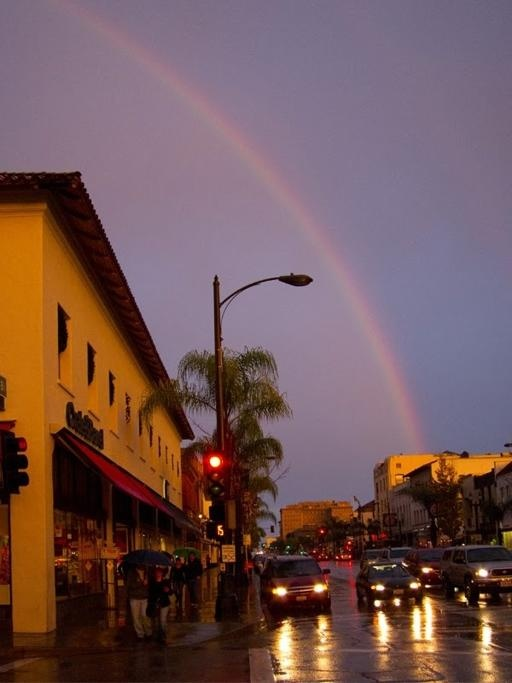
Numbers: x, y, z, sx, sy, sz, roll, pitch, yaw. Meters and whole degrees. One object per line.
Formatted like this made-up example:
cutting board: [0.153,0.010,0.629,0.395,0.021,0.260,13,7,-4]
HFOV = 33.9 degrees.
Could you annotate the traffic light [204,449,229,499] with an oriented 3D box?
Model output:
traffic light: [-0.939,3.056,19.223,0.496,1.048,0.413,-7,-17,1]

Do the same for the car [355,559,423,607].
car: [3.749,7.162,24.939,1.059,0.838,1.979,-1,-18,-8]

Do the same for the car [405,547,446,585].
car: [6.763,8.896,33.207,1.214,1.155,2.402,0,-20,-6]

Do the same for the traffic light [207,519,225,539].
traffic light: [-0.946,4.435,20.000,0.443,0.471,0.236,5,-10,-35]
